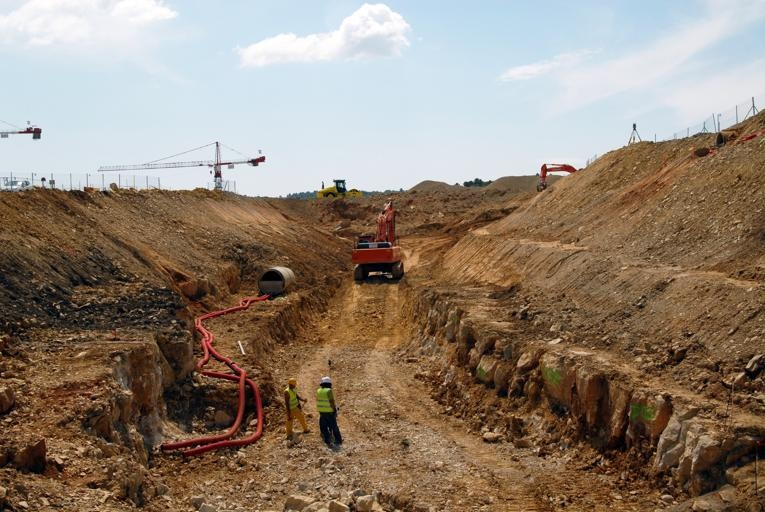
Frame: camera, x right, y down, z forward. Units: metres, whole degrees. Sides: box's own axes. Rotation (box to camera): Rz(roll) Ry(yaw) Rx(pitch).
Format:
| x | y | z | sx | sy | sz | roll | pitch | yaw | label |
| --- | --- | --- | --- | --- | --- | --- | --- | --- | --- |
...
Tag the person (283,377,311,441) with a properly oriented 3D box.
| x | y | z | sx | sy | sz | roll | pitch | yaw | label |
| --- | --- | --- | --- | --- | --- | --- | --- | --- | --- |
| -2.207 | 3.721 | 16.950 | 0.581 | 1.503 | 0.837 | -7 | 15 | -9 | person |
